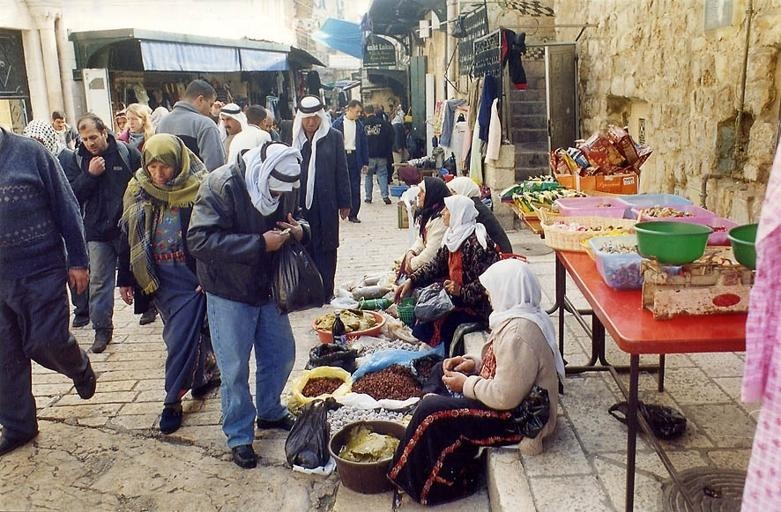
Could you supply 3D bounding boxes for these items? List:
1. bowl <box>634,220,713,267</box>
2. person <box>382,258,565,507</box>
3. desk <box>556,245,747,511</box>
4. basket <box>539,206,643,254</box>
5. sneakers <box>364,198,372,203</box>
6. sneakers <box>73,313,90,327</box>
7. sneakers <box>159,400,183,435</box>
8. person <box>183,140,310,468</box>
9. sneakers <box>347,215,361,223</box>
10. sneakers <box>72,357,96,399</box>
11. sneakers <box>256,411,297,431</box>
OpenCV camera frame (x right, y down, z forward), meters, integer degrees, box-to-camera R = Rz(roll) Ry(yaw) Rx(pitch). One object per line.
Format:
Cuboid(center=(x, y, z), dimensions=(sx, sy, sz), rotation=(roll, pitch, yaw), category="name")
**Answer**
Cuboid(center=(1.716, -0.134, 3.972), dimensions=(0.345, 0.177, 0.346), rotation=(-1, 8, 0), category="bowl")
Cuboid(center=(0.603, 0.904, 4.531), dimensions=(1.147, 1.651, 0.494), rotation=(-3, 15, -5), category="person")
Cuboid(center=(1.790, 0.872, 4.285), dimensions=(0.541, 0.746, 1.540), rotation=(-2, 15, 0), category="desk")
Cuboid(center=(1.529, -0.205, 4.941), dimensions=(0.491, 0.182, 0.365), rotation=(1, 15, 1), category="basket")
Cuboid(center=(-0.510, -1.230, 13.971), dimensions=(0.118, 0.125, 0.293), rotation=(-1, 5, -5), category="sneakers")
Cuboid(center=(-3.562, 0.744, 7.239), dimensions=(0.101, 0.095, 0.222), rotation=(1, 2, -9), category="sneakers")
Cuboid(center=(-1.879, 1.386, 5.376), dimensions=(0.116, 0.121, 0.312), rotation=(1, 6, -9), category="sneakers")
Cuboid(center=(-1.084, 0.370, 5.003), dimensions=(0.887, 2.458, 0.635), rotation=(-8, 17, -22), category="person")
Cuboid(center=(-0.681, -0.684, 11.606), dimensions=(0.232, 0.101, 0.095), rotation=(5, 15, 42), category="sneakers")
Cuboid(center=(-2.628, 1.063, 5.470), dimensions=(0.174, 0.364, 0.149), rotation=(-2, 10, 3), category="sneakers")
Cuboid(center=(-0.948, 1.398, 5.429), dimensions=(0.390, 0.169, 0.143), rotation=(-4, 17, -8), category="sneakers")
